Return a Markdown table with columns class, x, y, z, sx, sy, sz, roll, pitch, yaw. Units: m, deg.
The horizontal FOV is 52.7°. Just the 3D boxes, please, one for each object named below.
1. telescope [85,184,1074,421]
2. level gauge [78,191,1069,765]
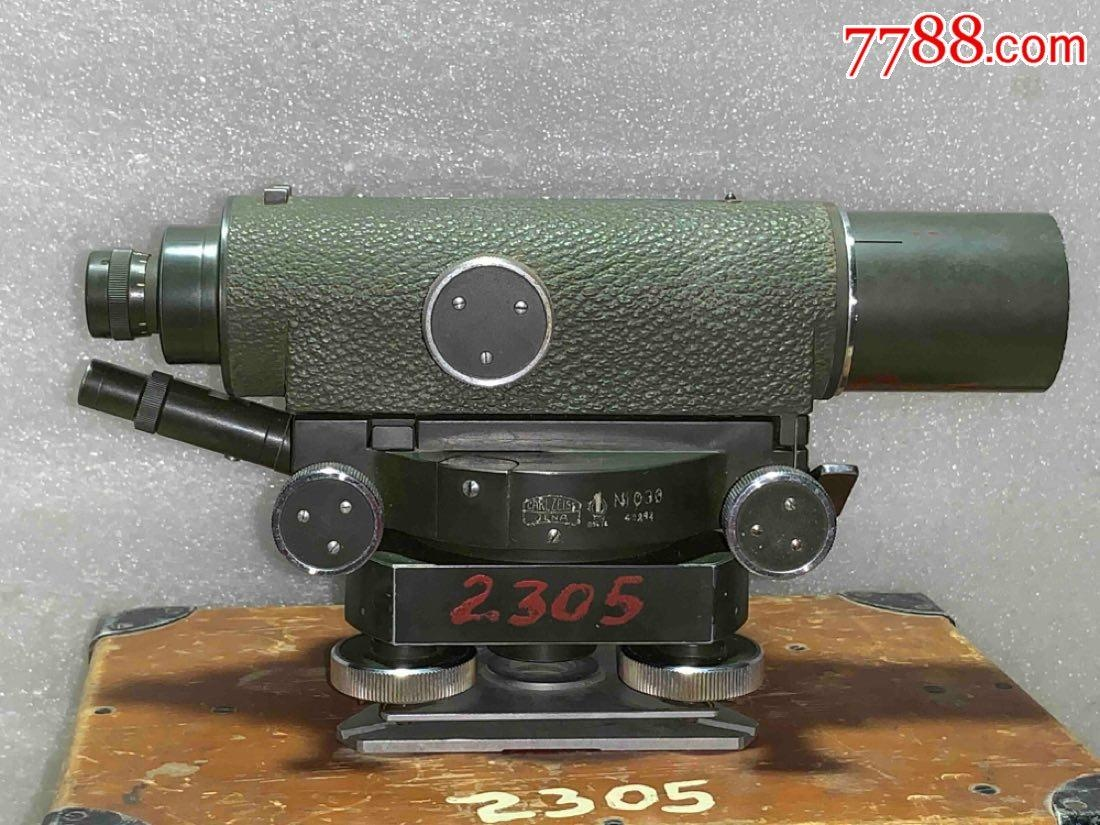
| class | x | y | z | sx | sy | sz | roll | pitch | yaw |
| --- | --- | --- | --- | --- | --- | --- | --- | --- | --- |
| telescope | 0.022 | -0.107 | 0.957 | 0.801 | 0.167 | 0.142 | -2 | 35 | -5 |
| level gauge | 0.003 | 0.043 | 0.998 | 0.972 | 0.411 | 0.293 | -3 | 5 | -18 |
